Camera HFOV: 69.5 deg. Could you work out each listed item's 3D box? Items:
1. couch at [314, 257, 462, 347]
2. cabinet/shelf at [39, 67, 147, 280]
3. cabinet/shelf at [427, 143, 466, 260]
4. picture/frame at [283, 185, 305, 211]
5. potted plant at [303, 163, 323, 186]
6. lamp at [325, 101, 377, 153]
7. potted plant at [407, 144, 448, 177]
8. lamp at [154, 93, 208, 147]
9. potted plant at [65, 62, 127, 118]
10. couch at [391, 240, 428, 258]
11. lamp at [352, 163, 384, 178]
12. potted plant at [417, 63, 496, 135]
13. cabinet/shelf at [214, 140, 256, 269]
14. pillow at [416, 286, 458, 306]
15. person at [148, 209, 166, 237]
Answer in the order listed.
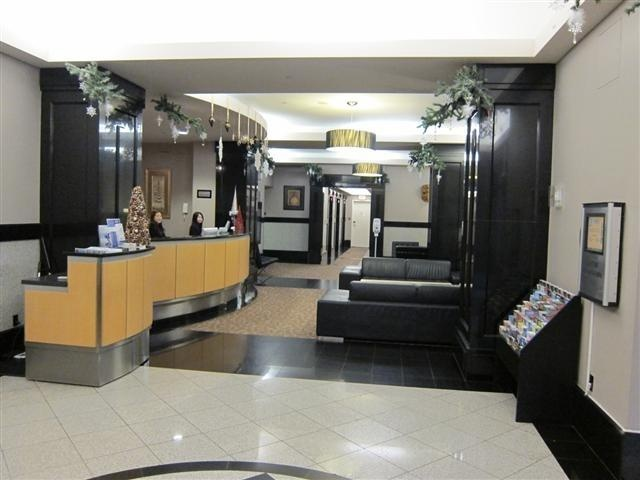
[{"bbox_3d":[1.061,0.920,6.972,1.561,0.554,1.386,1,8,7],"label":"couch"},{"bbox_3d":[-3.279,-0.965,6.585,1.295,2.796,0.644,-2,8,-30],"label":"cabinet/shelf"},{"bbox_3d":[3.040,-0.846,10.940,0.671,2.777,0.667,2,28,12],"label":"cabinet/shelf"},{"bbox_3d":[-0.851,-1.462,15.532,0.848,0.942,0.038,1,5,9],"label":"picture/frame"},{"bbox_3d":[-0.172,-2.059,14.490,0.493,0.620,0.226,-6,11,-30],"label":"potted plant"},{"bbox_3d":[0.654,-2.176,9.214,0.939,0.912,0.899,1,-3,5],"label":"lamp"},{"bbox_3d":[2.410,-1.812,10.343,0.871,0.637,0.828,3,5,3],"label":"potted plant"},{"bbox_3d":[-2.338,-1.984,7.481,0.499,0.322,1.049,22,6,5],"label":"lamp"},{"bbox_3d":[-2.973,-2.002,6.172,0.588,0.685,0.806,-1,7,-19],"label":"potted plant"},{"bbox_3d":[2.402,0.317,12.481,0.797,0.495,2.440,2,7,7],"label":"couch"},{"bbox_3d":[1.307,-1.966,12.706,0.791,0.329,0.387,1,7,-3],"label":"lamp"},{"bbox_3d":[1.608,-1.736,5.419,0.608,0.326,0.507,13,38,22],"label":"potted plant"},{"bbox_3d":[-1.926,-0.923,11.269,1.134,2.923,1.171,-3,8,-34],"label":"cabinet/shelf"},{"bbox_3d":[1.626,0.757,6.262,0.402,0.168,0.284,1,6,11],"label":"pillow"},{"bbox_3d":[-2.828,-0.254,7.975,0.231,0.479,1.448,-1,7,-19],"label":"person"}]
